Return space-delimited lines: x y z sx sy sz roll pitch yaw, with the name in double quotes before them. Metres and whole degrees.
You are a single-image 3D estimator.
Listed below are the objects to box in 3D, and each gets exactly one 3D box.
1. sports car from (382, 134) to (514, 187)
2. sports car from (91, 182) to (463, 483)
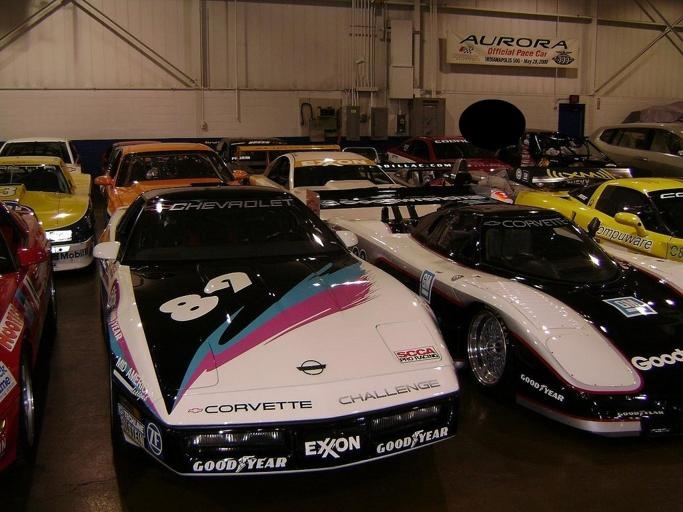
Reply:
"sports car" 2.652 -2.480 12.150 1.758 1.130 3.813 -3 8 -20
"sports car" -0.682 0.081 3.455 1.404 0.813 2.793 -6 14 -22
